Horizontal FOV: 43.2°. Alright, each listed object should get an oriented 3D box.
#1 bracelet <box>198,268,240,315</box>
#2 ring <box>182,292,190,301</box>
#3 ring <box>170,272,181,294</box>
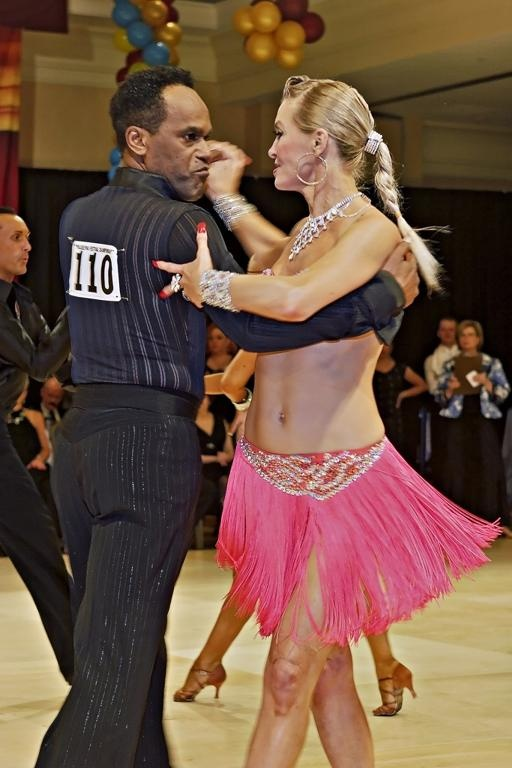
[{"bbox_3d":[-0.058,-0.147,1.030,0.050,0.056,0.023,1,46,40],"label":"bracelet"},{"bbox_3d":[-0.113,-0.142,1.048,0.008,0.014,0.004,-18,-7,-27],"label":"ring"},{"bbox_3d":[-0.126,-0.160,1.026,0.006,0.025,0.025,12,-1,-1],"label":"ring"}]
